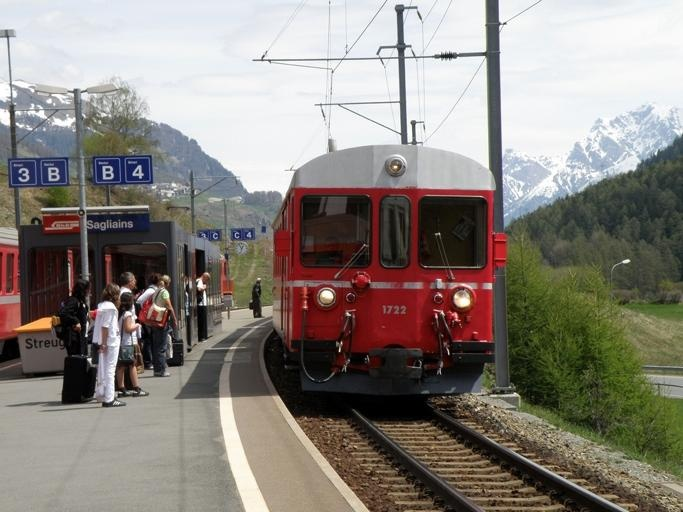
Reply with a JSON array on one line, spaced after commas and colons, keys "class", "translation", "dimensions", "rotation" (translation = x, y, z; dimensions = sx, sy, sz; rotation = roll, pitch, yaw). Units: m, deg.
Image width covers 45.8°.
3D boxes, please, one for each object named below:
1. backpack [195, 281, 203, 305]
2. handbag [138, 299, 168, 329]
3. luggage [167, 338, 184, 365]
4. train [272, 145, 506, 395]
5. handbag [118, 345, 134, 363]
[{"class": "backpack", "translation": [-4.222, 1.142, 24.124], "dimensions": [0.147, 0.616, 0.326], "rotation": [11, 15, 31]}, {"class": "handbag", "translation": [-3.977, 1.213, 17.137], "dimensions": [0.428, 0.514, 0.235], "rotation": [9, -17, 3]}, {"class": "luggage", "translation": [-3.919, 2.268, 19.041], "dimensions": [0.458, 0.685, 0.891], "rotation": [1, -3, -6]}, {"class": "train", "translation": [0.721, 0.375, 16.254], "dimensions": [3.200, 5.295, 7.357], "rotation": [2, -3, -7]}, {"class": "handbag", "translation": [-4.098, 1.874, 15.402], "dimensions": [0.242, 0.288, 0.372], "rotation": [-1, 2, -4]}]
